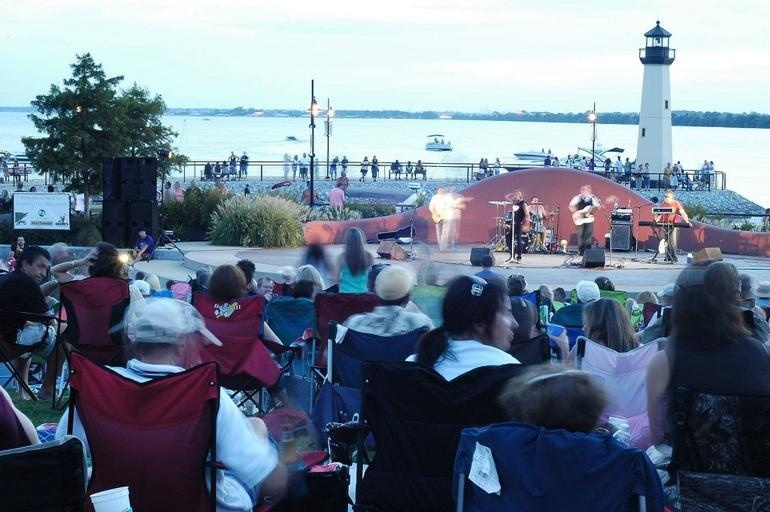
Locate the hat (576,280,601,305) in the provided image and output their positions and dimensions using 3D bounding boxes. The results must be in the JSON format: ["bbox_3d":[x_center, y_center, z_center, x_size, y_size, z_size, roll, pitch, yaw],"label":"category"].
[{"bbox_3d":[2.209,0.376,11.401,0.234,0.217,0.374,1,22,10],"label":"hat"}]

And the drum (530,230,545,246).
[{"bbox_3d":[3.419,-0.398,23.224,0.293,0.366,0.309,-1,-1,36],"label":"drum"}]

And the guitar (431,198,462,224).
[{"bbox_3d":[1.311,-1.014,22.625,0.647,0.608,0.523,0,3,-2],"label":"guitar"}]

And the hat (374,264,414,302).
[{"bbox_3d":[0.077,0.238,8.869,0.316,0.291,0.289,0,3,-1],"label":"hat"}]

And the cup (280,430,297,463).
[{"bbox_3d":[-0.690,1.362,7.474,0.126,0.221,0.249,0,3,-4],"label":"cup"}]

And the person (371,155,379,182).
[{"bbox_3d":[-0.486,-4.029,49.098,0.356,1.071,0.949,0,3,-1],"label":"person"}]

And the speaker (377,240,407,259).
[{"bbox_3d":[0.146,-0.057,21.039,0.413,0.360,0.410,17,1,-30],"label":"speaker"}]

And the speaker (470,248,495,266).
[{"bbox_3d":[1.833,0.027,19.490,0.411,0.399,0.409,1,0,16],"label":"speaker"}]

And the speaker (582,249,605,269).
[{"bbox_3d":[4.101,0.027,20.551,0.379,0.413,0.341,-3,15,-5],"label":"speaker"}]

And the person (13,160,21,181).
[{"bbox_3d":[-15.938,-3.654,45.009,0.269,0.892,2.062,-1,4,-20],"label":"person"}]
